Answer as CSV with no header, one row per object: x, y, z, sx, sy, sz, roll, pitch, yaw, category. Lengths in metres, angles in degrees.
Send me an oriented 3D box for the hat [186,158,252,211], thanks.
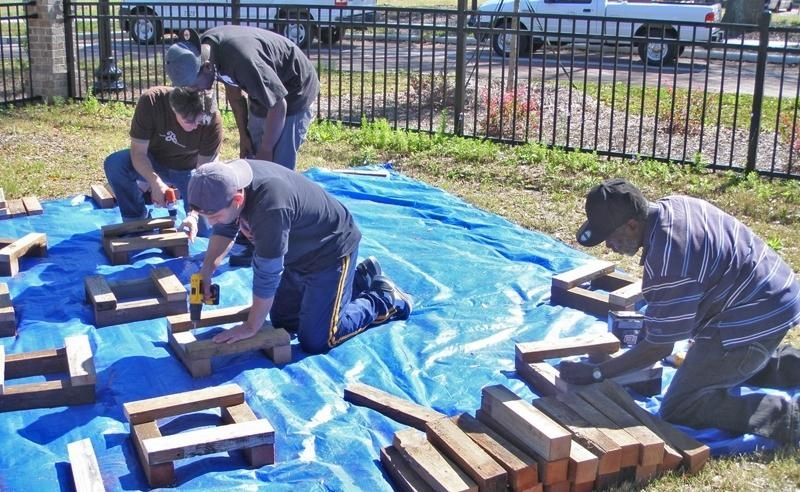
-1.475,-0.539,6.214,0.517,0.201,0.348,-36,52,-22,hat

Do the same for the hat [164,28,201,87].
-2.154,-1.854,7.381,0.371,0.537,0.301,20,19,25,hat

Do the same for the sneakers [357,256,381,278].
-0.302,0.219,7.760,0.222,0.177,0.231,-28,-15,11,sneakers
